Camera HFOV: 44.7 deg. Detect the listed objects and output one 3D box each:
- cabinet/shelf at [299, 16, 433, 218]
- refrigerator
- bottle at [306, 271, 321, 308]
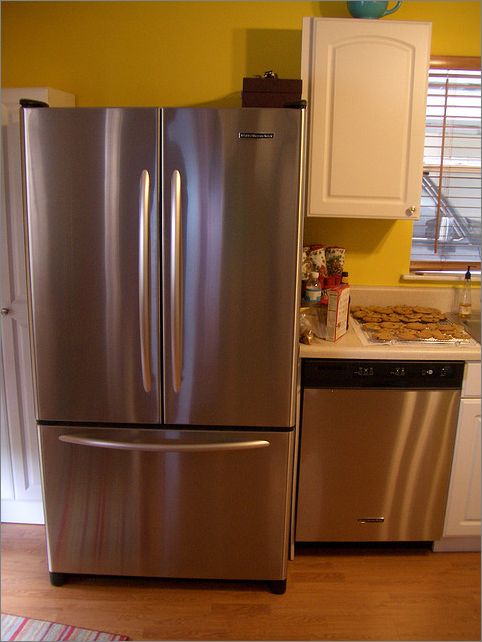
[{"bbox_3d":[0.481,-0.848,2.251,0.491,0.754,0.466,-4,44,6],"label":"cabinet/shelf"},{"bbox_3d":[-0.249,0.047,2.115,0.817,1.830,0.641,2,23,-1],"label":"refrigerator"},{"bbox_3d":[0.290,-0.135,2.304,0.077,0.136,0.074,0,13,0],"label":"bottle"}]
